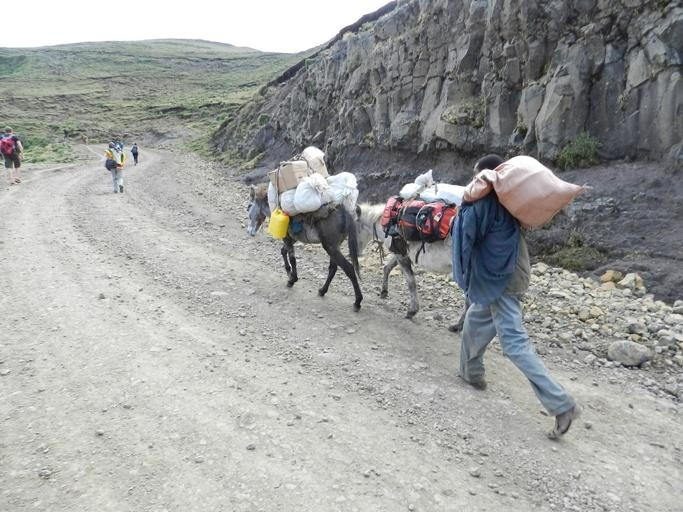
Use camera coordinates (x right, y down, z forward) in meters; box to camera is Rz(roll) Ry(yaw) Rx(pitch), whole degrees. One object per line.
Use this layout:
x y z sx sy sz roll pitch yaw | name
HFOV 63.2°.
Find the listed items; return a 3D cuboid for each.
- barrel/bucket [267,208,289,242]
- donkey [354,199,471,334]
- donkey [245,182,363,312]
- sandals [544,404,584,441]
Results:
-1.087 -0.562 9.960 0.351 0.609 0.572 -1 18 -8 | barrel/bucket
1.359 0.296 9.528 1.854 2.140 1.793 3 13 -23 | donkey
-0.734 -0.246 10.425 2.859 1.987 0.735 8 11 42 | donkey
2.728 2.048 6.709 0.151 0.530 0.249 25 29 -10 | sandals
